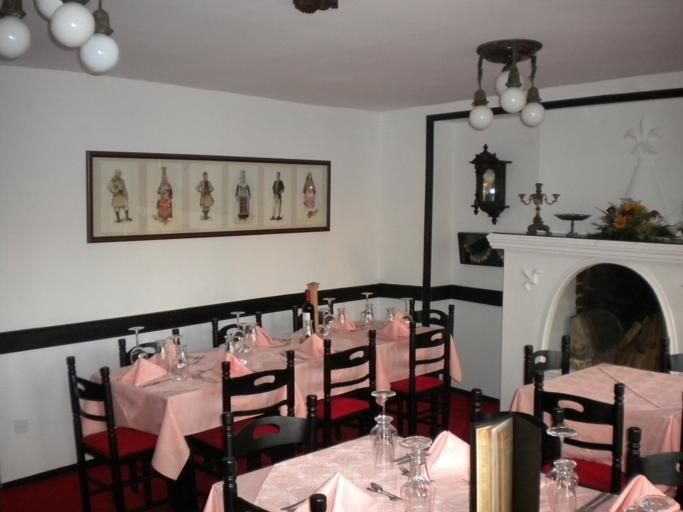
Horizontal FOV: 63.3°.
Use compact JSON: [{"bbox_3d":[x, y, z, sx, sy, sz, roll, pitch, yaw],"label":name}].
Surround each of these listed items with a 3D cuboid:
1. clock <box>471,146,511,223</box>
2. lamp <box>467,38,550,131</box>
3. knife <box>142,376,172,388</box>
[{"bbox_3d":[1.726,-0.814,6.362,0.424,0.910,0.198,3,6,42],"label":"clock"},{"bbox_3d":[1.192,-1.192,4.126,0.579,0.727,0.553,3,-3,-42],"label":"lamp"},{"bbox_3d":[-1.303,0.891,3.889,0.034,0.016,0.271,28,20,27],"label":"knife"}]
